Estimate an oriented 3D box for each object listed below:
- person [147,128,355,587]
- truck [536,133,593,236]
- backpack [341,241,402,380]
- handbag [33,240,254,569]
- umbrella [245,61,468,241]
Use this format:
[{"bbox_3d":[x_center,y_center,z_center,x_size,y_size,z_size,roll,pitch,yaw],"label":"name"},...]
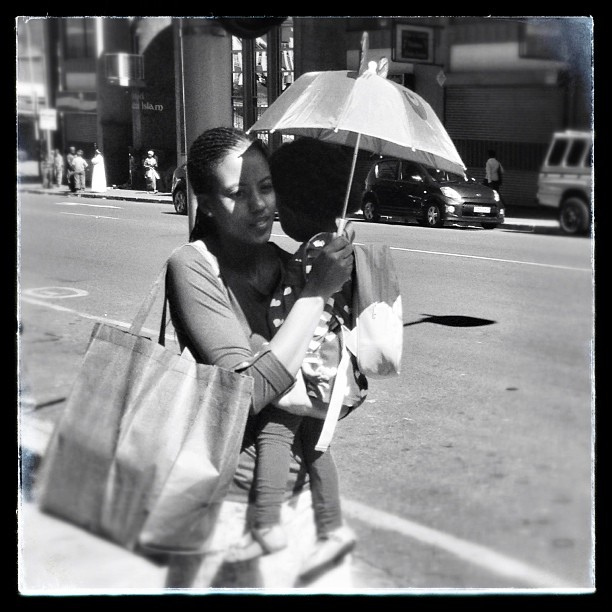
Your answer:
[{"bbox_3d":[-0.054,0.131,1.732,0.399,1.131,0.392,8,23,42],"label":"person"},{"bbox_3d":[6.465,-2.992,16.348,0.750,2.520,3.173,2,11,8],"label":"truck"},{"bbox_3d":[0.172,0.016,1.718,0.198,0.329,0.098,1,-2,-13],"label":"backpack"},{"bbox_3d":[-0.403,0.343,1.586,0.628,0.568,0.138,8,12,32],"label":"handbag"},{"bbox_3d":[0.181,-0.469,2.067,0.509,0.571,0.551,1,26,-23],"label":"umbrella"}]
